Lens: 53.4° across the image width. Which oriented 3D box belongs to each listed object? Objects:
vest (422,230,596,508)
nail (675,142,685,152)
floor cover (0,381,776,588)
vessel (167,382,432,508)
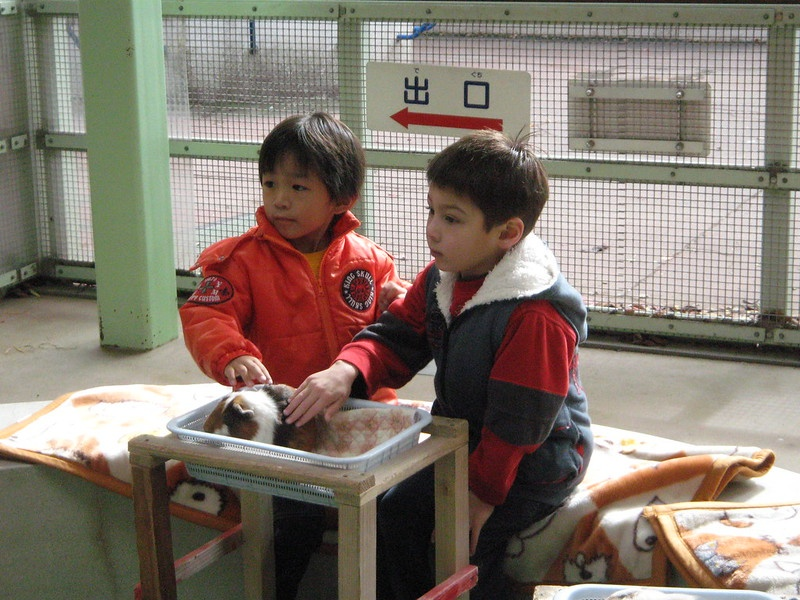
[{"bbox_3d":[0.223,0.164,1.723,0.396,0.601,0.314,3,12,13],"label":"vest"},{"bbox_3d":[1.114,-0.609,3.147,0.034,0.034,0.009,12,12,10],"label":"nail"},{"bbox_3d":[-0.089,0.432,1.997,1.326,0.209,0.802,2,2,12],"label":"floor cover"},{"bbox_3d":[-0.187,0.266,1.568,0.463,0.135,0.330,7,13,29],"label":"vessel"}]
